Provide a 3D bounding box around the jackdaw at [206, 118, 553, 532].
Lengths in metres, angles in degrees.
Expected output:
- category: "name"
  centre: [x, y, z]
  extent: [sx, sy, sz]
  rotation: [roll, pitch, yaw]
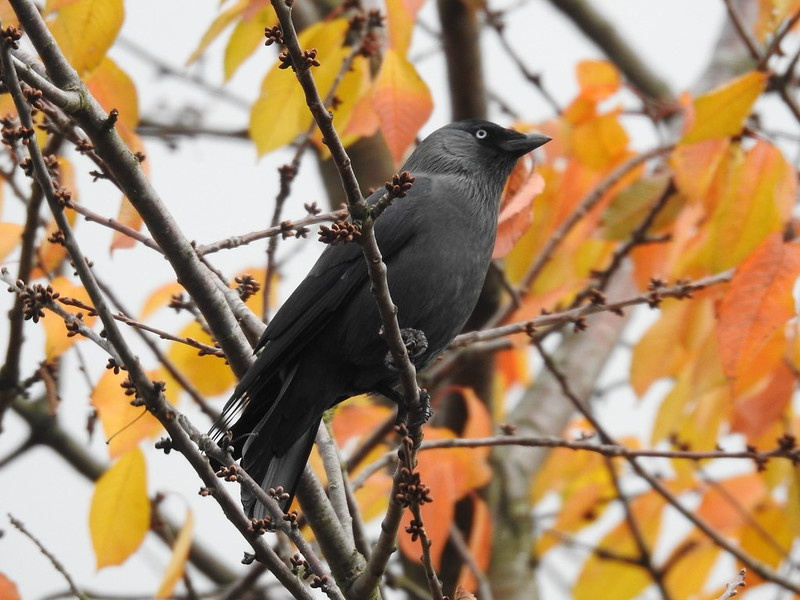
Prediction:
- category: "jackdaw"
  centre: [-0.108, -0.018, 6.085]
  extent: [1.565, 1.740, 0.779]
  rotation: [-19, -46, 20]
